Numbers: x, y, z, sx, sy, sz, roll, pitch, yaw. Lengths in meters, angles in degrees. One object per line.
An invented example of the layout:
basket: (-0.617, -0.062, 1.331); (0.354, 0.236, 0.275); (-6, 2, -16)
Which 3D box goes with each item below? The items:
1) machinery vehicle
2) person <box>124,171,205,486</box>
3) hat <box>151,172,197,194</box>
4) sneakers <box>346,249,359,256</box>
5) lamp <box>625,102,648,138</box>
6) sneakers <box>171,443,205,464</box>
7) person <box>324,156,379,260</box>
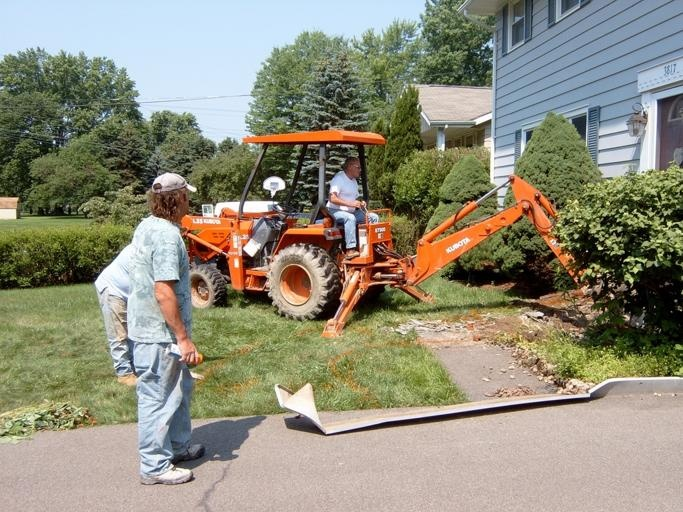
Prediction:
machinery vehicle: (-0.151, -0.554, 10.564); (7.113, 3.092, 3.030); (4, 6, 29)
person: (-1.420, 0.556, 4.926); (0.529, 2.400, 0.567); (-4, 9, -19)
hat: (-1.356, -0.583, 5.031); (0.207, 0.127, 0.323); (13, 10, 43)
sneakers: (0.172, -0.062, 9.795); (0.194, 0.124, 0.090); (-4, 4, 10)
lamp: (5.042, -2.320, 10.563); (0.317, 0.581, 0.392); (3, 9, 25)
sneakers: (-1.294, 1.630, 5.252); (0.272, 0.130, 0.096); (-15, 18, -38)
person: (0.184, -0.825, 10.101); (0.923, 1.593, 0.993); (6, 9, 28)
